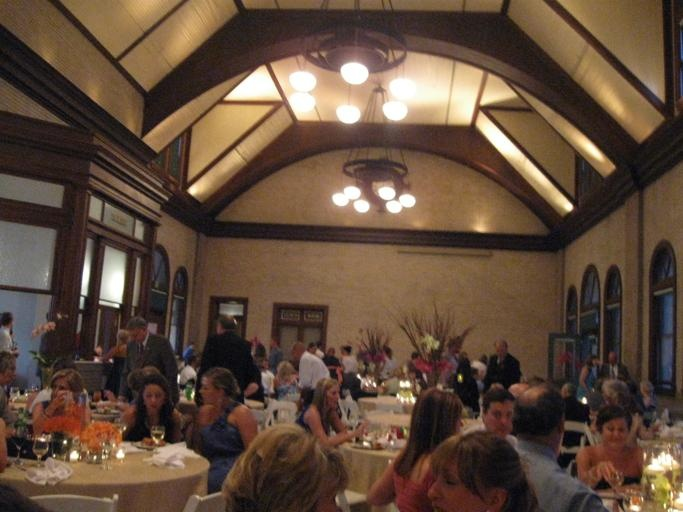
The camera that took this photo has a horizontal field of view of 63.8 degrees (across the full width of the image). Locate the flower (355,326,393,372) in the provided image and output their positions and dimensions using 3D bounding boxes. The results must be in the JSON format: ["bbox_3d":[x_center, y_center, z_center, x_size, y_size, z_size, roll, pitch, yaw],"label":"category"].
[{"bbox_3d":[0.967,2.576,15.004,0.867,1.506,0.884,2,6,35],"label":"flower"}]

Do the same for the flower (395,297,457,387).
[{"bbox_3d":[1.021,1.079,6.274,0.569,1.062,0.641,-16,-5,16],"label":"flower"}]

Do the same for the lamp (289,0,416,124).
[{"bbox_3d":[0.222,-3.591,9.970,1.488,1.763,1.517,22,-35,-29],"label":"lamp"}]

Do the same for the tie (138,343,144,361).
[{"bbox_3d":[-2.460,1.192,6.710,0.043,0.204,0.111,-1,-6,-34],"label":"tie"}]
